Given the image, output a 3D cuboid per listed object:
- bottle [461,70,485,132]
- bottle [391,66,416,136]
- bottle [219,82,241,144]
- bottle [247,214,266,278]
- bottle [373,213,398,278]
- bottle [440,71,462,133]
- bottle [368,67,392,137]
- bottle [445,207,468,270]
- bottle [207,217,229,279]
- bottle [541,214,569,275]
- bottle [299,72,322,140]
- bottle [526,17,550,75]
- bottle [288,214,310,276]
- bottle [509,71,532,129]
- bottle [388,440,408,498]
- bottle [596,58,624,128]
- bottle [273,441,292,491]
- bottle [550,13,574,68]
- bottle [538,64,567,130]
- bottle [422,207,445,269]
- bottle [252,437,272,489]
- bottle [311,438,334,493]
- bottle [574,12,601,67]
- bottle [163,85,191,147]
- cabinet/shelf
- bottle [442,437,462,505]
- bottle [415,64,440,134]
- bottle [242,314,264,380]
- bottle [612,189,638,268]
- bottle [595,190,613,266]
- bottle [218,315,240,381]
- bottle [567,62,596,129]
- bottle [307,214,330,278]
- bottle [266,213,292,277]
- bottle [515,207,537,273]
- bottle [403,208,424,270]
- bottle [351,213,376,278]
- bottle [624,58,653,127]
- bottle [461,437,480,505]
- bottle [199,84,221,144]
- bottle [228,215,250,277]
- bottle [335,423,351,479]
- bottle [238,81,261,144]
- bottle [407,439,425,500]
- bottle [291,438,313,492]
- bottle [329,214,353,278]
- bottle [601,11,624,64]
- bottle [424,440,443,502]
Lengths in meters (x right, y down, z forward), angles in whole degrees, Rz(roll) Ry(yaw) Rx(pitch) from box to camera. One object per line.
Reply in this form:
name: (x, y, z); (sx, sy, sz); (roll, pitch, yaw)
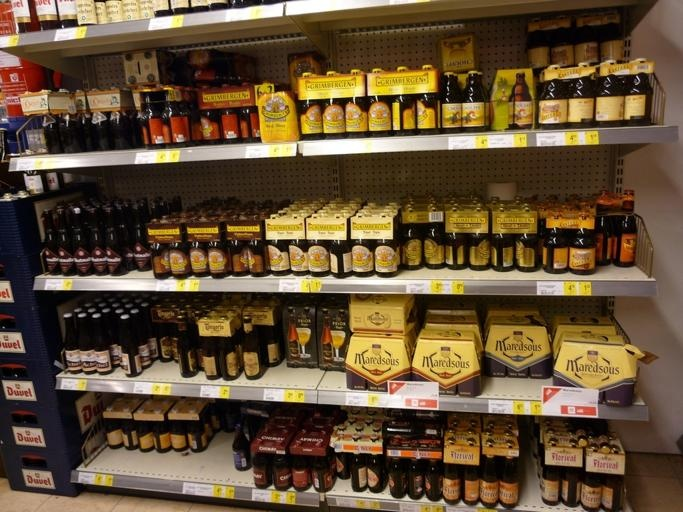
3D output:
bottle: (0.729, -0.849, 2.902); (0.136, 0.322, 0.196); (1, 15, 13)
bottle: (0.344, -0.769, 2.891); (0.124, 0.212, 0.037); (-2, 15, 3)
bottle: (-0.652, -0.830, 3.112); (0.118, 0.316, 0.056); (0, 15, 9)
bottle: (-0.494, -0.046, 3.101); (0.115, 0.329, 0.060); (-5, 15, -8)
bottle: (0.278, -0.065, 2.970); (0.177, 0.339, 0.103); (-10, 16, -26)
bottle: (0.603, -0.841, 2.917); (0.115, 0.318, 0.178); (0, 15, 11)
bottle: (0.209, -0.829, 2.903); (0.131, 0.333, 0.066); (-2, 15, 4)
bottle: (0.645, -0.099, 2.971); (0.105, 0.335, 0.078); (-9, 16, -24)
bottle: (-0.727, -0.038, 3.132); (0.123, 0.331, 0.061); (-6, 15, -13)
bottle: (1.166, -0.069, 2.872); (0.129, 0.322, 0.072); (2, 15, 19)
bottle: (-0.175, -0.842, 2.980); (0.150, 0.359, 0.095); (0, 15, 9)
bottle: (1.159, -1.241, 3.116); (0.127, 0.303, 0.129); (-3, 14, 1)
bottle: (-0.243, -0.054, 3.050); (0.105, 0.336, 0.047); (-4, 15, -6)
bottle: (0.969, -0.842, 2.856); (0.115, 0.308, 0.128); (2, 15, 16)
bottle: (0.336, 1.248, 3.188); (0.112, 0.373, 0.166); (-2, 14, 3)
bottle: (1.381, -0.828, 2.725); (0.133, 0.309, 0.086); (4, 16, 23)
bottle: (-0.363, 1.304, 3.276); (0.114, 0.281, 0.072); (-5, 15, -9)
bottle: (1.285, -1.243, 3.068); (0.130, 0.282, 0.146); (2, 15, 17)
bottle: (1.121, -0.843, 2.809); (0.147, 0.328, 0.129); (2, 15, 17)
bottle: (0.533, -0.113, 3.013); (0.118, 0.352, 0.116); (-3, 15, 1)
bottle: (-0.492, 1.287, 3.299); (0.117, 0.315, 0.072); (-5, 15, -9)
bottle: (-0.109, 1.307, 3.251); (0.147, 0.246, 0.117); (-3, 14, -3)
bottle: (1.408, -1.246, 3.035); (0.136, 0.271, 0.161); (3, 15, 21)
bottle: (-0.948, -0.833, 3.151); (0.104, 0.337, 0.151); (7, 18, 34)
cabinet/shelf: (0.020, -0.033, 3.187); (3.804, 2.465, 1.107); (0, 12, 8)
bottle: (0.644, 1.312, 3.089); (0.112, 0.260, 0.072); (0, 15, 12)
bottle: (0.487, -0.845, 2.868); (0.150, 0.357, 0.071); (-9, 16, -23)
bottle: (-0.552, 0.548, 3.273); (0.125, 0.400, 0.163); (-5, 15, -10)
bottle: (1.570, -0.157, 2.919); (0.107, 0.415, 0.132); (5, 16, 26)
bottle: (1.457, -0.151, 2.942); (0.095, 0.402, 0.071); (-10, 16, -27)
bottle: (-0.669, 0.567, 3.252); (0.130, 0.389, 0.065); (-13, 18, -35)
bottle: (1.251, -0.826, 2.762); (0.134, 0.304, 0.102); (2, 15, 18)
bottle: (-0.134, -0.057, 3.030); (0.085, 0.341, 0.111); (-15, 19, -40)
bottle: (-0.365, -0.060, 3.083); (0.139, 0.348, 0.076); (-3, 15, 0)
bottle: (1.019, -0.089, 2.912); (0.123, 0.345, 0.075); (-1, 15, 8)
bottle: (0.406, -0.104, 3.029); (0.118, 0.354, 0.093); (2, 15, 16)
bottle: (0.112, -0.056, 2.979); (0.136, 0.337, 0.070); (0, 15, 12)
bottle: (1.541, -0.840, 2.719); (0.193, 0.324, 0.100); (-10, 16, -27)
bottle: (0.757, 1.318, 3.079); (0.091, 0.237, 0.074); (0, 15, 9)
bottle: (-0.787, -0.828, 3.138); (0.132, 0.313, 0.052); (1, 15, 14)
bottle: (-0.612, -0.046, 3.123); (0.122, 0.331, 0.048); (3, 16, 22)
bottle: (0.013, 1.298, 3.296); (0.092, 0.184, 0.049); (-3, 15, -2)
bottle: (-0.531, -0.828, 3.086); (0.126, 0.318, 0.047); (6, 17, 30)
bottle: (0.445, 1.316, 3.151); (0.095, 0.241, 0.088); (-3, 14, 1)
bottle: (-0.248, 1.319, 3.282); (0.132, 0.237, 0.112); (0, 15, 11)
bottle: (0.001, -0.060, 3.006); (0.127, 0.356, 0.095); (-7, 15, -18)
bottle: (1.549, -1.255, 3.029); (0.126, 0.293, 0.280); (4, 15, 25)
bottle: (0.544, 1.249, 3.119); (0.098, 0.371, 0.128); (0, 15, 9)
